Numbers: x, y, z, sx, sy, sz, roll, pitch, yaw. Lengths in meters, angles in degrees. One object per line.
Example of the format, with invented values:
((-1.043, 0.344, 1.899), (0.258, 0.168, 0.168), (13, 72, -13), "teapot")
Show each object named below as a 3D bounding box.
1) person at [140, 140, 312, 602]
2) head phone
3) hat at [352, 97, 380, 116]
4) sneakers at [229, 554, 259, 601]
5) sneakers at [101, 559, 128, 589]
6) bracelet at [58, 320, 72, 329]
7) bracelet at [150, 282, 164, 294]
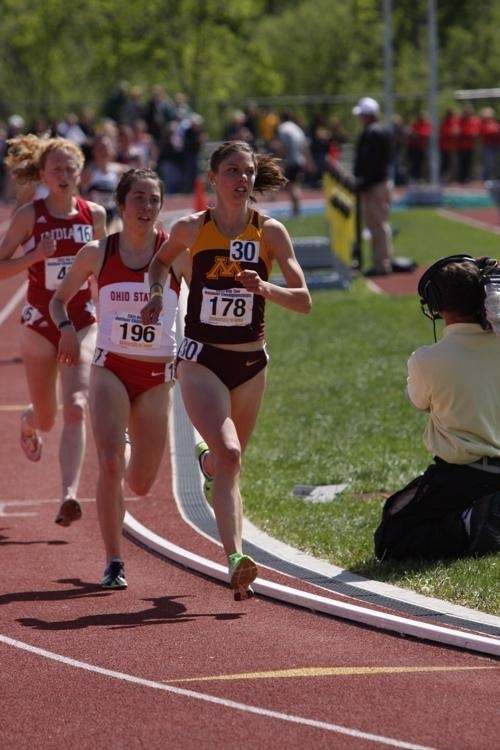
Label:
((-0.099, -0.157, 3.635), (0.604, 1.695, 0.680), (-7, 8, -43), "person")
((0.921, -0.391, 3.860), (0.284, 0.313, 0.281), (0, 5, 12), "head phone")
((1.541, -3.464, 10.979), (0.381, 0.227, 0.474), (0, 13, -10), "hat")
((-0.046, 0.793, 3.292), (0.093, 0.202, 0.115), (0, 37, -11), "sneakers")
((-0.596, 0.868, 3.642), (0.072, 0.073, 0.178), (1, -3, -11), "sneakers")
((-0.842, -0.220, 3.800), (0.048, 0.017, 0.045), (-24, -4, 29), "bracelet")
((-0.410, -0.376, 3.670), (0.068, 0.045, 0.085), (6, 0, -1), "bracelet")
